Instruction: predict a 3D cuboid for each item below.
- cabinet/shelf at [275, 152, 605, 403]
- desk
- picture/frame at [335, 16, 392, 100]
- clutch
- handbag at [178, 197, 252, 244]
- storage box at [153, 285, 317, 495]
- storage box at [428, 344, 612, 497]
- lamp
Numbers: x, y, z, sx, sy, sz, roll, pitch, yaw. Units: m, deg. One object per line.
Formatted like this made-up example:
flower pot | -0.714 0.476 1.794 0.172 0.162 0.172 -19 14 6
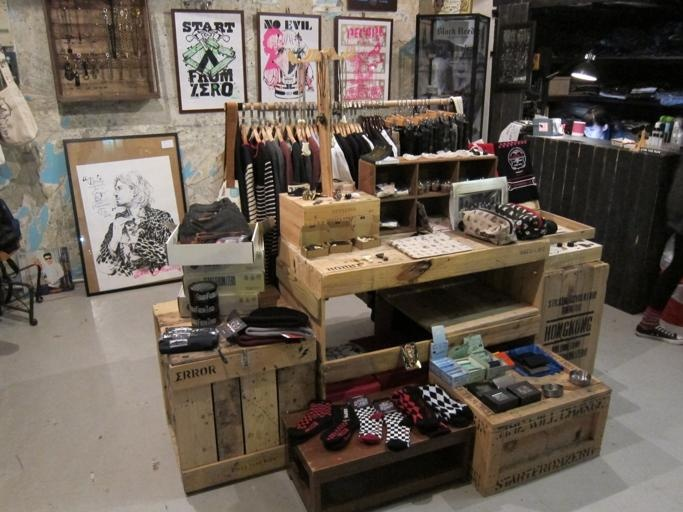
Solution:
cabinet/shelf | 0.671 0.109 4.269 2.397 1.751 1.803 -7 19 -10
desk | 2.427 -0.248 4.638 0.741 1.450 1.502 -11 18 -22
picture/frame | 0.281 -2.538 6.313 0.695 0.835 0.031 -2 65 -1
clutch | 1.155 -0.227 3.582 0.358 0.126 0.350 -13 23 -25
handbag | -0.818 -0.207 3.263 0.335 0.114 0.330 -4 36 -8
storage box | -0.724 0.801 3.578 1.083 0.965 1.033 -9 16 -27
storage box | 1.146 0.947 3.415 0.796 0.464 0.795 -9 20 -22
lamp | 2.797 -2.168 6.400 0.613 0.859 0.315 20 5 26
